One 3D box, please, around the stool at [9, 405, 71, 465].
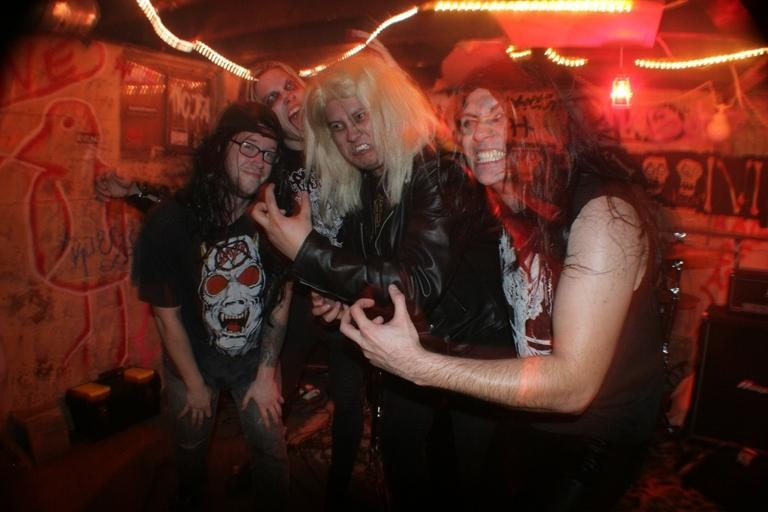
[{"bbox_3d":[-3.628,1.858,5.678,0.650,0.612,0.505,-4,13,-36],"label":"stool"}]
